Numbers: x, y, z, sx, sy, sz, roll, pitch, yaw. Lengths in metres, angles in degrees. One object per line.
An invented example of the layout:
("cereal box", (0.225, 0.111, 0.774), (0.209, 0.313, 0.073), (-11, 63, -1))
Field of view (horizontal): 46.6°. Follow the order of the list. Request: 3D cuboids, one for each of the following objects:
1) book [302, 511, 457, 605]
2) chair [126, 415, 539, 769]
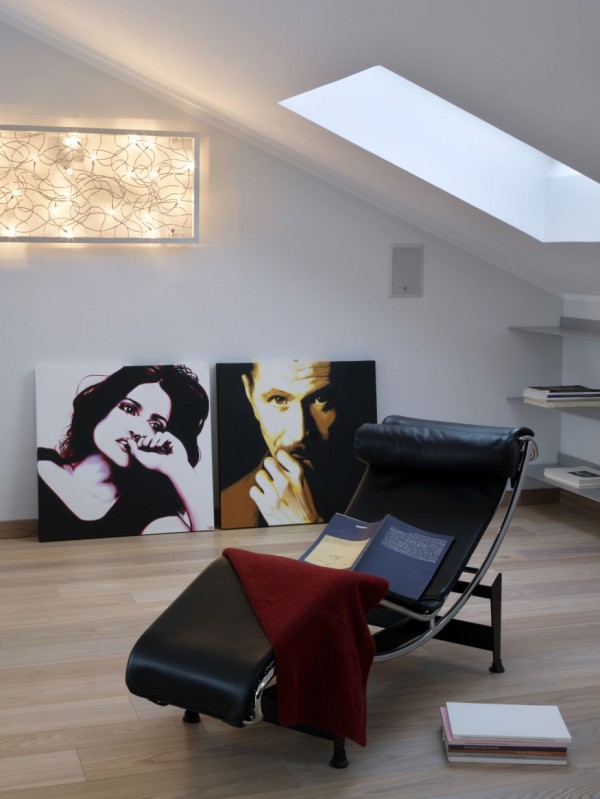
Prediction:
("book", (0.290, 0.489, 2.221), (0.348, 0.086, 0.239), (10, 30, 31))
("chair", (0.119, 0.513, 2.101), (0.653, 0.748, 1.330), (7, 7, 42))
